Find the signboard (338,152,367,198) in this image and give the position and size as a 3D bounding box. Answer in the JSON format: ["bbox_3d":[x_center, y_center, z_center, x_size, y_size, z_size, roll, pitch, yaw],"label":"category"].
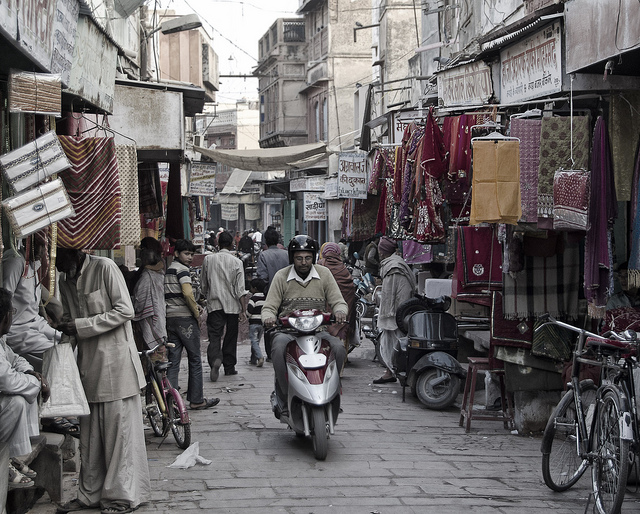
[{"bbox_3d":[0.854,-2.110,21.474,0.714,1.143,0.965,0,5,3],"label":"signboard"}]

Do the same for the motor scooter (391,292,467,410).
[{"bbox_3d":[1.469,1.278,10.824,0.495,1.266,1.608,1,-6,-3],"label":"motor scooter"}]

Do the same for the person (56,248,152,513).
[{"bbox_3d":[-1.751,0.977,6.793,0.756,2.068,0.583,0,5,-5],"label":"person"}]

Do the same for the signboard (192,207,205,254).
[{"bbox_3d":[-4.002,-1.021,27.496,0.284,1.275,1.683,-1,5,-10],"label":"signboard"}]

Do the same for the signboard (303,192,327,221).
[{"bbox_3d":[-0.190,-2.014,32.964,0.852,1.184,0.129,10,-19,-32],"label":"signboard"}]

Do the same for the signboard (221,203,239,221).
[{"bbox_3d":[-6.578,-3.341,60.564,0.980,1.393,1.126,-1,0,14],"label":"signboard"}]

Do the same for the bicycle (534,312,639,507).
[{"bbox_3d":[2.259,1.311,6.789,0.621,1.452,1.155,-2,5,-20],"label":"bicycle"}]

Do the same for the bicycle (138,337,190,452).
[{"bbox_3d":[-1.710,1.451,8.474,0.456,0.838,1.109,-7,5,-16],"label":"bicycle"}]

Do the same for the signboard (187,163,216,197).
[{"bbox_3d":[-2.890,-1.900,20.427,0.101,1.191,0.689,8,11,36],"label":"signboard"}]

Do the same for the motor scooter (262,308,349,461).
[{"bbox_3d":[-0.090,1.204,8.161,0.548,1.236,1.413,0,0,-5],"label":"motor scooter"}]

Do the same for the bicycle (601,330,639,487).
[{"bbox_3d":[2.429,1.141,6.629,0.260,1.067,0.881,1,5,11],"label":"bicycle"}]
